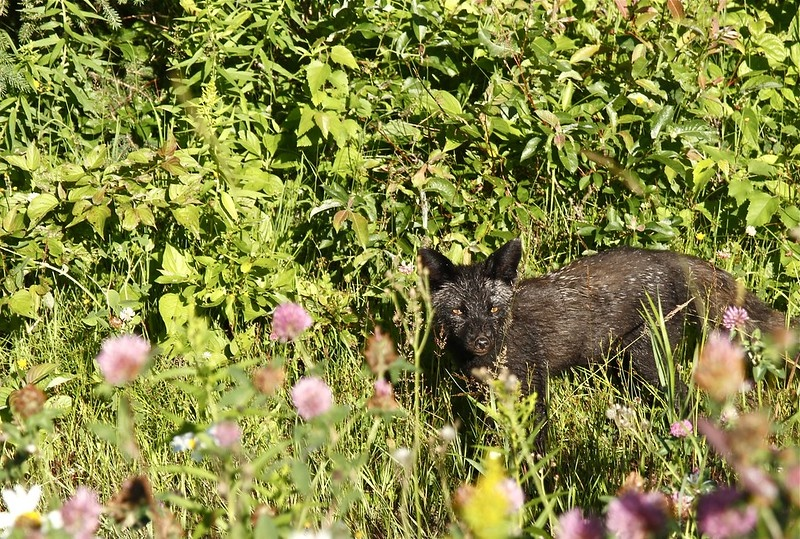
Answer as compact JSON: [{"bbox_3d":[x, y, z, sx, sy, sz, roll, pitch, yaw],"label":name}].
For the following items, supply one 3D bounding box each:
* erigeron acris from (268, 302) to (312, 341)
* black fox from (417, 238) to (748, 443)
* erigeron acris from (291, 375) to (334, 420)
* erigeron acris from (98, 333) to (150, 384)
[{"bbox_3d":[-0.474,0.247,3.776,0.157,0.174,0.185,-1,45,-4],"label":"erigeron acris"},{"bbox_3d":[1.497,0.470,6.889,2.788,1.726,0.632,-13,29,-21],"label":"black fox"},{"bbox_3d":[-0.346,0.530,3.509,0.183,0.082,0.226,1,41,12],"label":"erigeron acris"},{"bbox_3d":[-1.100,0.389,3.440,0.187,0.286,0.239,2,21,-13],"label":"erigeron acris"}]
